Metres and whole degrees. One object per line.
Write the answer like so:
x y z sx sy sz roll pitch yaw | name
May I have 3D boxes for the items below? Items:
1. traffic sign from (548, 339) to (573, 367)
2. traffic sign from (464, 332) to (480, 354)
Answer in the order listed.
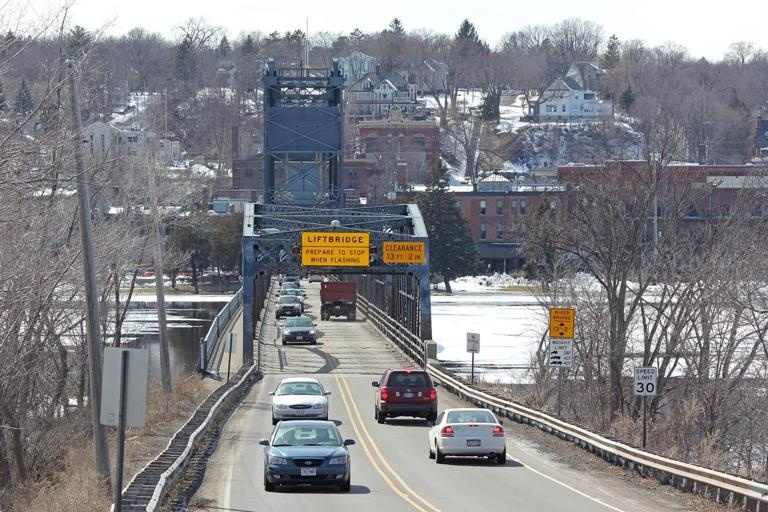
11.502 6.193 107.980 1.666 2.211 0.223 7 -18 -10 | traffic sign
6.275 6.023 116.089 0.771 1.404 1.362 0 2 -4 | traffic sign
